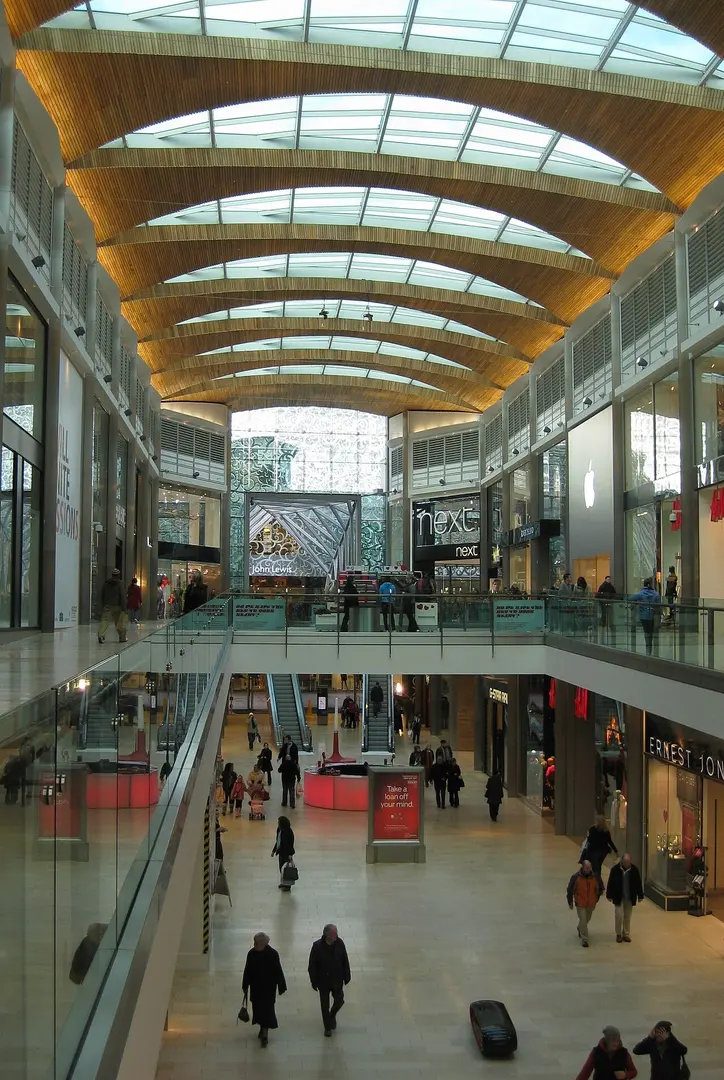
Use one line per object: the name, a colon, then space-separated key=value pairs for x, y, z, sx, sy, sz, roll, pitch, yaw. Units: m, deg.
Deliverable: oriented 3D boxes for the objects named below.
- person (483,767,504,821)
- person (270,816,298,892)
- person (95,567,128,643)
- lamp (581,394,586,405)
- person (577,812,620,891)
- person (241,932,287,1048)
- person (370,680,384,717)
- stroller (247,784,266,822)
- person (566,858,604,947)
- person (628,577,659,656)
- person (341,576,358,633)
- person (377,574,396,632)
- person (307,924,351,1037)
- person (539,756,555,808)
person: x=3.713 y=7.106 z=23.163 sx=0.372 sy=1.415 sz=1.560 roll=0 pitch=-6 yaw=8
person: x=-1.527 y=6.111 z=16.260 sx=0.428 sy=1.323 sz=1.273 roll=1 pitch=-6 yaw=-6
person: x=-3.805 y=0.991 z=12.559 sx=0.376 sy=1.153 sz=1.133 roll=2 pitch=-6 yaw=-18
lamp: x=6.100 y=-3.821 z=22.535 sx=0.137 sy=0.194 sz=0.171 roll=-1 pitch=-5 yaw=6
person: x=4.003 y=5.265 z=13.815 sx=0.503 sy=0.313 sz=1.165 roll=-16 pitch=31 yaw=28
person: x=-1.141 y=5.174 z=9.591 sx=0.451 sy=1.414 sz=0.836 roll=1 pitch=-5 yaw=-6
person: x=0.573 y=6.190 z=31.902 sx=0.505 sy=1.207 sz=1.261 roll=1 pitch=-6 yaw=-1
stroller: x=-2.784 y=6.984 z=21.983 sx=0.421 sy=0.863 sz=0.524 roll=1 pitch=-5 yaw=-7
person: x=3.576 y=5.712 z=13.182 sx=0.491 sy=1.668 sz=2.069 roll=-1 pitch=-6 yaw=15
person: x=4.369 y=1.128 z=12.655 sx=0.332 sy=1.164 sz=2.443 roll=-1 pitch=-6 yaw=19
person: x=-0.296 y=1.525 z=19.116 sx=0.359 sy=1.178 sz=1.117 roll=1 pitch=-6 yaw=-2
person: x=0.576 y=1.517 z=19.177 sx=0.386 sy=1.110 sz=1.097 roll=0 pitch=-6 yaw=1
person: x=-0.407 y=5.229 z=9.918 sx=0.445 sy=1.470 sz=1.127 roll=1 pitch=-5 yaw=-4
person: x=5.387 y=7.016 z=23.987 sx=0.220 sy=1.563 sz=0.865 roll=1 pitch=-5 yaw=-6
